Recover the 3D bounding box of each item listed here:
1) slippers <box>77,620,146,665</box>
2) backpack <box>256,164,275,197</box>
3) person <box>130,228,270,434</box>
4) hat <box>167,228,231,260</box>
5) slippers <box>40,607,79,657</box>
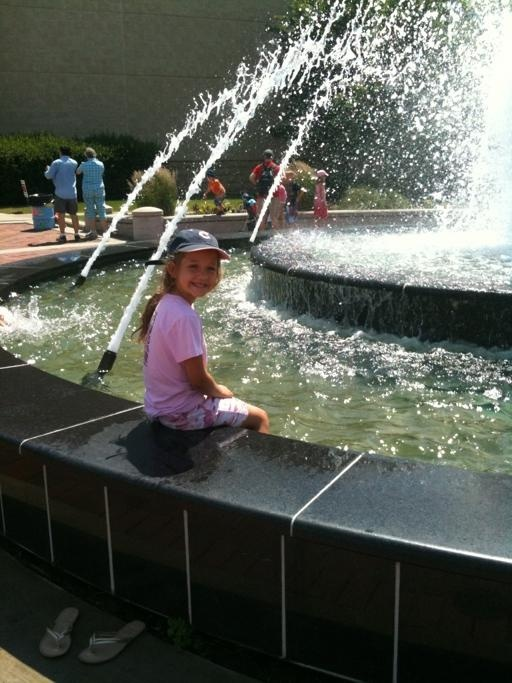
[{"bbox_3d":[-0.478,0.978,1.875,0.134,0.058,0.235,2,15,23],"label":"slippers"},{"bbox_3d":[0.097,-3.829,13.451,0.466,0.649,0.657,5,16,0],"label":"backpack"},{"bbox_3d":[-0.170,0.046,2.537,0.722,1.044,0.549,0,3,-12],"label":"person"},{"bbox_3d":[-0.260,-0.407,2.360,0.152,0.104,0.207,-3,0,-44],"label":"hat"},{"bbox_3d":[-0.640,0.950,1.872,0.079,0.276,0.030,16,27,-20],"label":"slippers"}]
